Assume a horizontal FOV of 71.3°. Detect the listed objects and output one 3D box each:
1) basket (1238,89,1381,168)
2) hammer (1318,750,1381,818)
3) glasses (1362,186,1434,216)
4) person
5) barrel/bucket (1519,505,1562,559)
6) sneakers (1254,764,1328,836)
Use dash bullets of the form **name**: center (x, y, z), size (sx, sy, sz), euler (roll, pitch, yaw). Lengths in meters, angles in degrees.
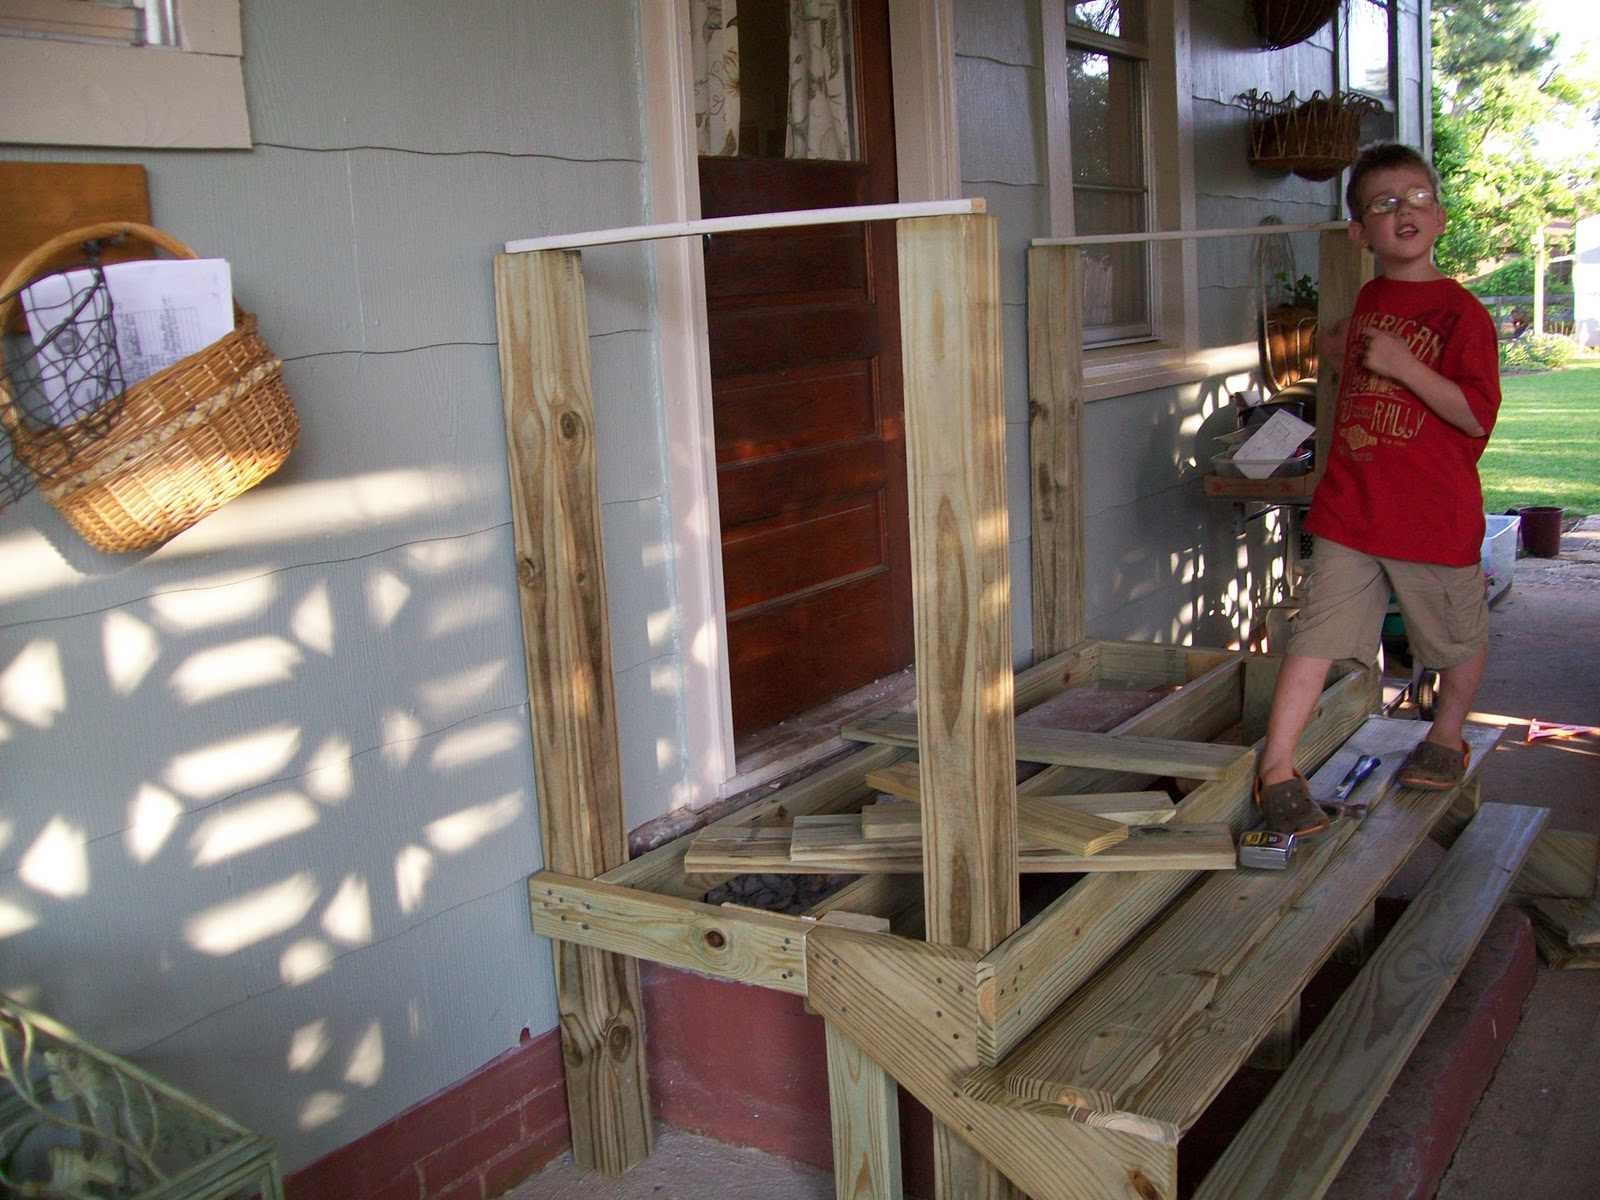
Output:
- **basket**: center (2.532, -2.361, 5.784), size (0.616, 0.319, 0.614), euler (-12, 21, -29)
- **hammer**: center (1.455, 0.475, 2.952), size (0.109, 0.050, 0.362), euler (2, 25, 35)
- **glasses**: center (1.555, -1.022, 2.874), size (0.161, 0.060, 0.067), euler (-3, 19, 1)
- **person**: center (1.573, -0.312, 2.904), size (0.467, 1.650, 1.032), euler (8, 22, 32)
- **barrel/bucket**: center (5.687, -0.514, 8.618), size (0.343, 0.416, 0.366), euler (-1, -1, 0)
- **sneakers**: center (1.198, 0.500, 2.731), size (0.114, 0.106, 0.168), euler (-4, 19, 0)
